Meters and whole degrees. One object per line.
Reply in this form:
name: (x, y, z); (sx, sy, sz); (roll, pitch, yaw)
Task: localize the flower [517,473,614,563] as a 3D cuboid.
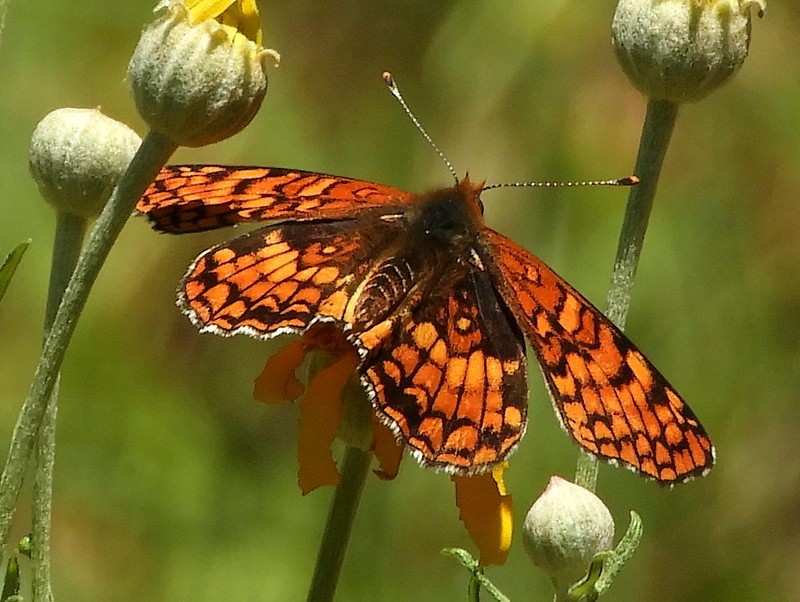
flower: (0.199, 0.253, 1.257); (0.085, 0.093, 0.115); (-6, 84, 7)
